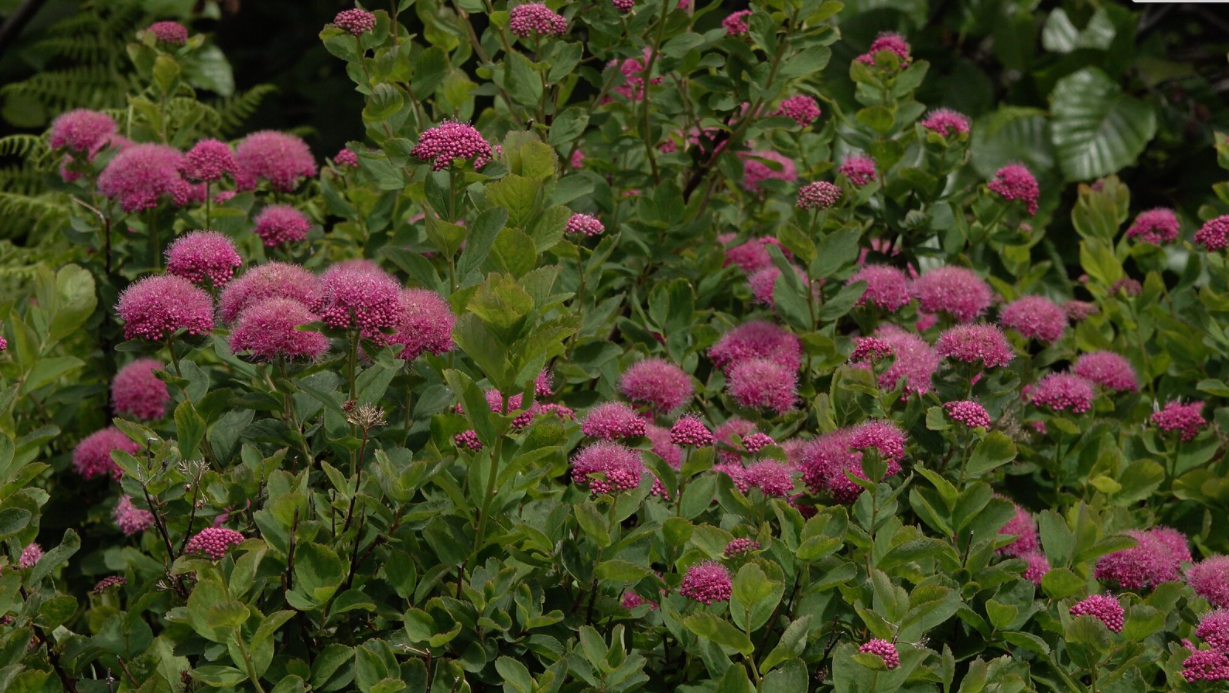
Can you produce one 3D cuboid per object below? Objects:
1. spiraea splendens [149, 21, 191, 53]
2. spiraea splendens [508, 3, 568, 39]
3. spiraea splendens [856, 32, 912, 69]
[{"bbox_3d":[-1.274,-0.892,6.142,0.114,0.082,0.117,8,17,-12],"label":"spiraea splendens"},{"bbox_3d":[-0.204,-0.885,5.867,0.150,0.101,0.121,17,18,20],"label":"spiraea splendens"},{"bbox_3d":[0.762,-0.841,6.079,0.132,0.074,0.099,3,24,35],"label":"spiraea splendens"}]
